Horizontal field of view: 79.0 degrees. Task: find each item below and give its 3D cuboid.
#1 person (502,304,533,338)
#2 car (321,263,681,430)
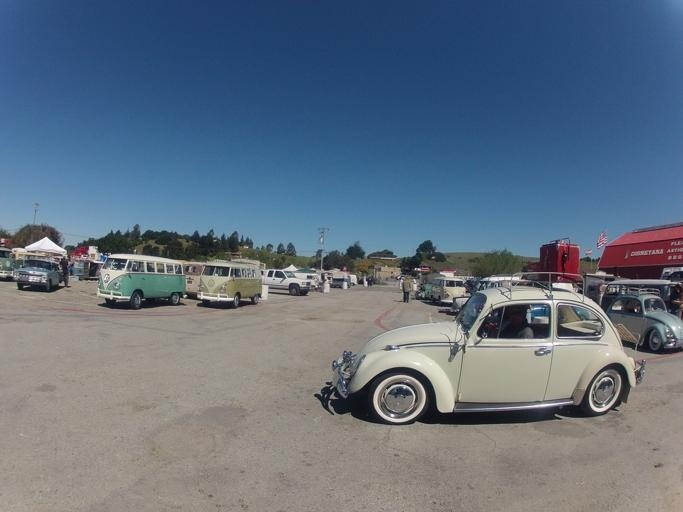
[{"bbox_3d":[2.803,0.836,6.621,0.413,0.622,0.913,1,-1,21],"label":"person"},{"bbox_3d":[2.438,1.599,6.671,4.611,2.125,0.871,1,7,-8],"label":"car"}]
